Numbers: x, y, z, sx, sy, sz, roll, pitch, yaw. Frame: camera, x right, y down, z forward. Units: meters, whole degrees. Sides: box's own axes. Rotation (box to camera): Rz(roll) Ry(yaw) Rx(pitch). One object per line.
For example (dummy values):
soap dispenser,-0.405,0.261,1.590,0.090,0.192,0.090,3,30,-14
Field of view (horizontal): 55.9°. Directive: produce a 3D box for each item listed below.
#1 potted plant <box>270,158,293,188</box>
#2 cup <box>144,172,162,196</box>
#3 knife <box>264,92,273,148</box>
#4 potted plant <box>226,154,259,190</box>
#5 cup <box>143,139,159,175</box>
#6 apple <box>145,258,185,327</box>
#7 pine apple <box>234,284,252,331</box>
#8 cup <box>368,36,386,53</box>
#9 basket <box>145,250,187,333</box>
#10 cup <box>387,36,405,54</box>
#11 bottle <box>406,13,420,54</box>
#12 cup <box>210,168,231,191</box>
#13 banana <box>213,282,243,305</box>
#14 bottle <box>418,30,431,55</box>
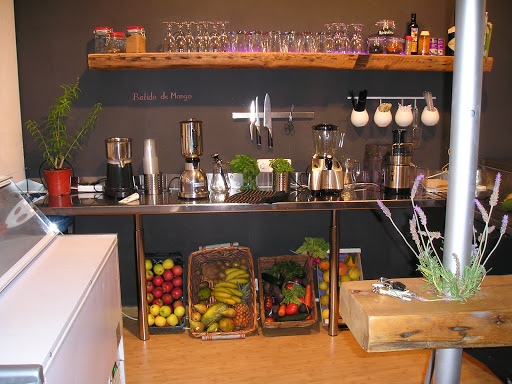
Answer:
potted plant,0.173,-0.136,3.639,0.188,0.259,0.190,0,12,0
cup,-0.750,-0.063,3.627,0.142,0.168,0.145,1,0,0
knife,0.089,-0.557,3.810,0.072,0.425,0.020,-2,3,-7
potted plant,-0.082,-0.181,3.648,0.235,0.305,0.266,-10,11,-34
cup,-0.790,-0.257,3.580,0.103,0.248,0.177,-6,15,-20
apple,-0.659,0.728,3.572,0.332,0.468,0.153,2,-7,-25
pine apple,-0.111,0.861,3.534,0.121,0.313,0.123,-3,9,8
cup,0.910,-1.092,3.623,0.131,0.133,0.093,1,-5,6
basket,-0.690,0.747,3.628,0.333,0.496,0.148,1,-7,-18
cup,1.058,-1.101,3.645,0.149,0.129,0.094,-2,14,-4
bottle,1.207,-1.224,3.736,0.102,0.328,0.310,4,15,17
cup,-0.271,-0.087,3.582,0.159,0.221,0.152,0,2,0
banana,-0.211,0.757,3.591,0.204,0.127,0.066,17,-33,2
bottle,1.274,-1.114,3.645,0.086,0.170,0.136,1,14,6
